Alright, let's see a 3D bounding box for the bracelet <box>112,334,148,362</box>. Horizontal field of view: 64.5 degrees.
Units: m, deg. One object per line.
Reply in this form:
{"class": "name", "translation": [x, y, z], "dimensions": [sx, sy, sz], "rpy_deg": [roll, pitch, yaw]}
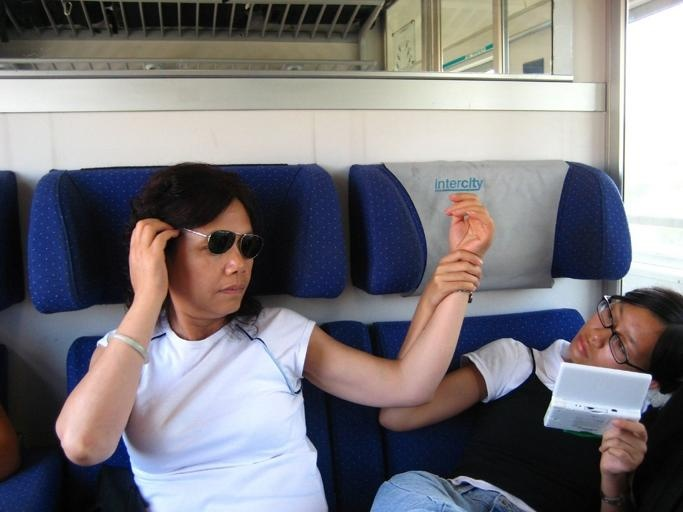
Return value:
{"class": "bracelet", "translation": [-0.569, 0.237, 1.482], "dimensions": [0.020, 0.076, 0.078], "rpy_deg": [-56, 9, -13]}

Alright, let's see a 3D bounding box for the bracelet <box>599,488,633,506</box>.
{"class": "bracelet", "translation": [0.789, 0.680, 1.541], "dimensions": [0.051, 0.022, 0.054], "rpy_deg": [-6, 4, 18]}

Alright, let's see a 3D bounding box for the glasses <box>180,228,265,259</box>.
{"class": "glasses", "translation": [-0.303, -0.033, 1.558], "dimensions": [0.039, 0.103, 0.162], "rpy_deg": [7, 20, 44]}

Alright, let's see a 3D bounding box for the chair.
{"class": "chair", "translation": [-0.138, 0.270, 1.690], "dimensions": [1.002, 0.652, 0.519], "rpy_deg": [-4, 27, -8]}
